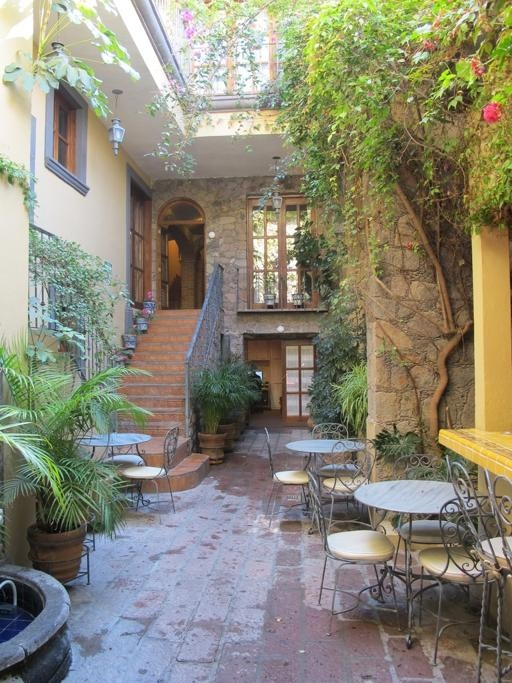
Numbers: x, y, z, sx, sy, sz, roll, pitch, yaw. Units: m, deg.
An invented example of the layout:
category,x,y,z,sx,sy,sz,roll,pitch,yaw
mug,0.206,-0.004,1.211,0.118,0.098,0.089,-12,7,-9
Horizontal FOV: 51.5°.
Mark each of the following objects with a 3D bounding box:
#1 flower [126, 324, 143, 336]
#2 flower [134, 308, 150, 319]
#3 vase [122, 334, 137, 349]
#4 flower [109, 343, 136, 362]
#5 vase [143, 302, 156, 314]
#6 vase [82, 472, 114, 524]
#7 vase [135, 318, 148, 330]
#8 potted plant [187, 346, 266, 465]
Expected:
category,x,y,z,sx,sy,sz,roll,pitch,yaw
flower,-1.983,-0.185,8.762,0.150,0.092,0.164,-8,-7,22
flower,-1.924,-0.464,9.054,0.208,0.147,0.202,1,-6,-38
vase,-2.001,-0.001,8.350,0.204,0.158,0.206,0,-5,3
flower,-1.915,0.178,7.654,0.252,0.289,0.289,-2,1,29
vase,-1.869,-0.592,9.239,0.213,0.233,0.225,-1,4,22
vase,-0.926,0.920,3.093,0.164,0.341,0.354,0,-1,-16
vase,-1.913,-0.278,8.865,0.206,0.208,0.206,0,-7,-10
potted plant,-0.417,0.926,7.702,1.105,1.439,1.358,0,0,-10
